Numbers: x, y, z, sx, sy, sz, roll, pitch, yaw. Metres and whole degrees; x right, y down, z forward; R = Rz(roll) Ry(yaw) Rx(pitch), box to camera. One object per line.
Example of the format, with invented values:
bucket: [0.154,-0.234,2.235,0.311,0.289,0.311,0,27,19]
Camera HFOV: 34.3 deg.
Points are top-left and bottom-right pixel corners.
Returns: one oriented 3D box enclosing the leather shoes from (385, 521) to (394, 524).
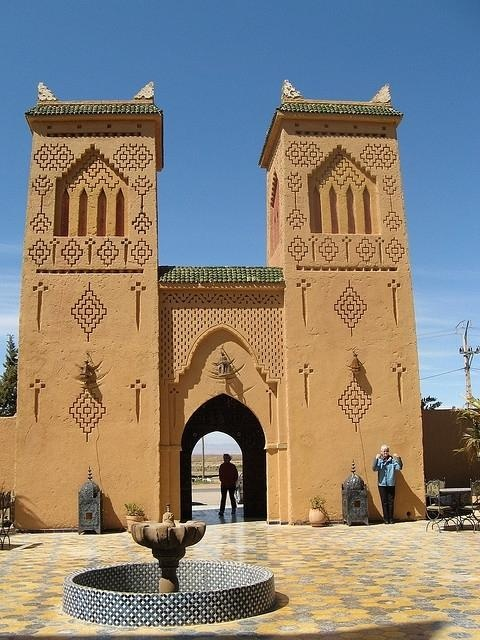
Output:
leather shoes: [2.463,3.350,12.855,0.144,0.066,0.052,-2,-2,0]

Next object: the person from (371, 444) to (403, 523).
person: [2.468,2.753,12.931,0.469,1.245,0.606,-4,-13,11]

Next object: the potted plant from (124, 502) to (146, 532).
potted plant: [-1.667,3.144,12.377,0.341,0.450,0.404,1,-14,-9]

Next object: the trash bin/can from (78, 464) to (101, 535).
trash bin/can: [-2.374,2.877,12.305,0.348,1.003,0.211,0,-13,-7]

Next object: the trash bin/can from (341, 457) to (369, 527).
trash bin/can: [1.880,2.885,12.846,0.416,1.006,0.377,-3,-13,8]

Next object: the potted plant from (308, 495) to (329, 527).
potted plant: [1.297,3.150,12.791,0.347,0.486,0.315,-2,-13,1]
